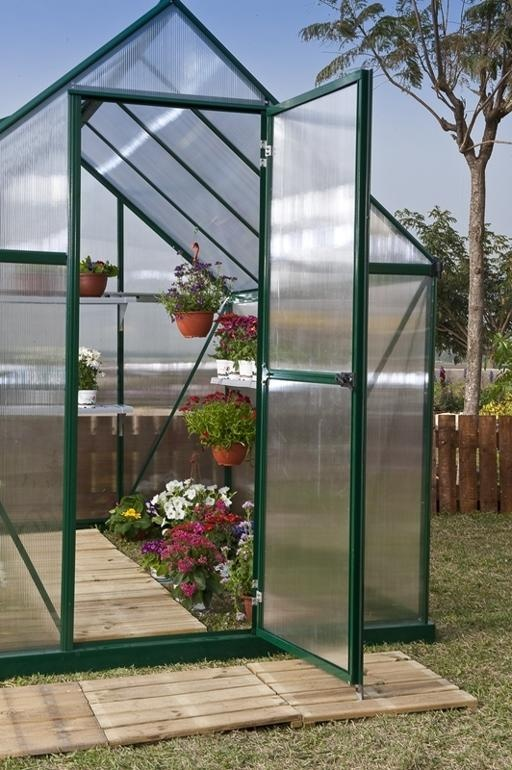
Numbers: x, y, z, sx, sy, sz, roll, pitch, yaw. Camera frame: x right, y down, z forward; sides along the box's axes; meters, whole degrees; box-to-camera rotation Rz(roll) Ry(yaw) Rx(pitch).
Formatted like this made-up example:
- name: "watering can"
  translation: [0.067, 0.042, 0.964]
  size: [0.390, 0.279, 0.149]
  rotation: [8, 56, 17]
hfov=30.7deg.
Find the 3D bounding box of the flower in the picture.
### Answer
- name: "flower"
  translation: [-0.519, 0.306, 5.450]
  size: [0.594, 1.602, 1.834]
  rotation: [3, 0, -23]
